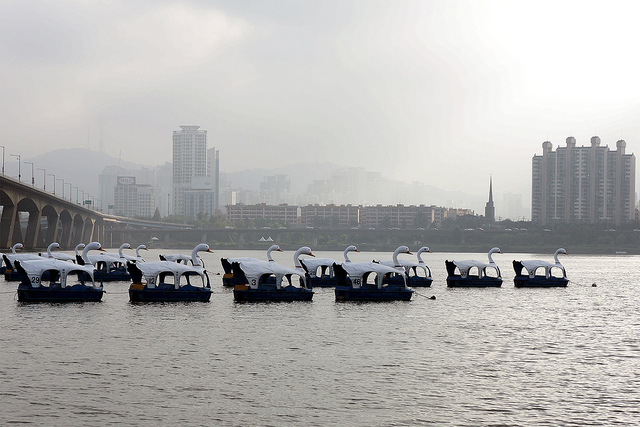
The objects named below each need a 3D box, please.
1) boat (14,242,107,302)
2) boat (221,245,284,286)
[{"bbox_3d":[-24.190,5.377,102.104,8.330,5.370,3.507,3,-4,-26],"label":"boat"},{"bbox_3d":[-7.875,6.064,114.807,9.900,5.342,2.834,0,0,20],"label":"boat"}]
